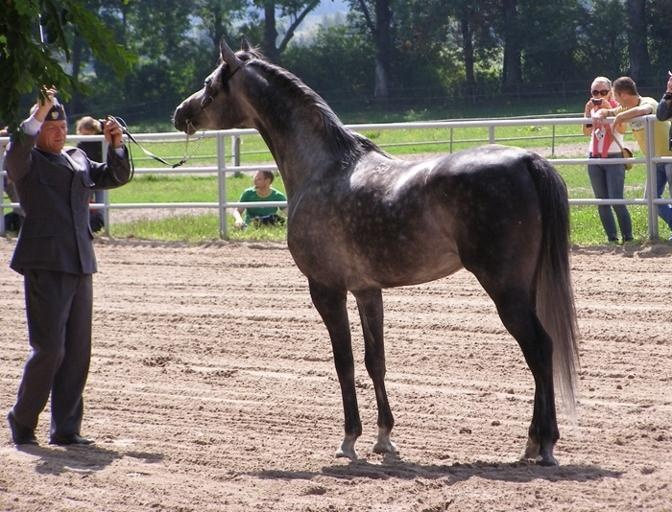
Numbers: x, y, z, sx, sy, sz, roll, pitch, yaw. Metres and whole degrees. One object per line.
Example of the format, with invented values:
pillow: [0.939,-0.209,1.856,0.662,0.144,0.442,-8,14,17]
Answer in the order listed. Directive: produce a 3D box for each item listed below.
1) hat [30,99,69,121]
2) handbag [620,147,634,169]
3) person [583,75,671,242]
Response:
hat: [-3.110,-1.590,15.994,0.270,0.198,0.271,0,9,-4]
handbag: [4.053,-1.383,20.400,0.200,0.251,0.288,1,39,18]
person: [4.130,-1.372,20.295,1.011,2.277,0.777,-1,2,9]
